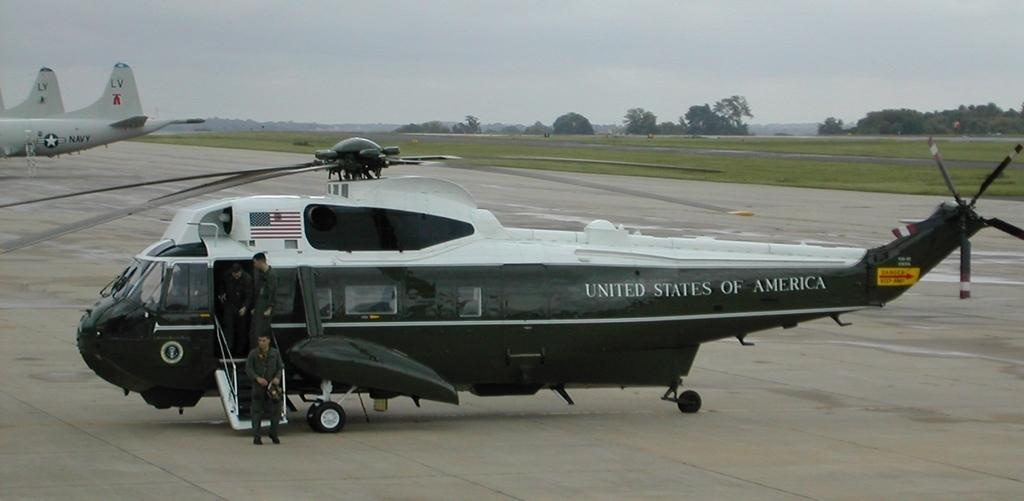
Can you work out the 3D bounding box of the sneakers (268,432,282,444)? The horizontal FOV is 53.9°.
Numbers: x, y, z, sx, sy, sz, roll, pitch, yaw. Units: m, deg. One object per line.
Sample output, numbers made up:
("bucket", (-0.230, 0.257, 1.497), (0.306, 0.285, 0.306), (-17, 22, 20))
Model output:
("sneakers", (-7.904, 6.300, 33.736), (0.223, 0.216, 0.619), (-11, 17, -44))
